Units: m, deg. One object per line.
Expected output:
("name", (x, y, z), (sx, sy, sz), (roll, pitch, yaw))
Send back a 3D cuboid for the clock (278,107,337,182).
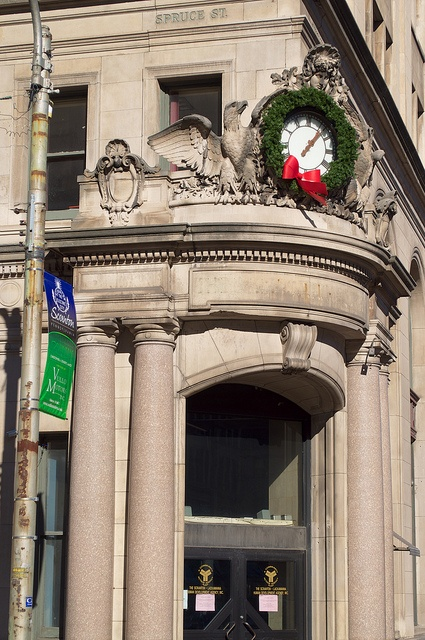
("clock", (1.633, -2.899, 27.701), (0.950, 1.305, 0.082), (4, -27, -5))
